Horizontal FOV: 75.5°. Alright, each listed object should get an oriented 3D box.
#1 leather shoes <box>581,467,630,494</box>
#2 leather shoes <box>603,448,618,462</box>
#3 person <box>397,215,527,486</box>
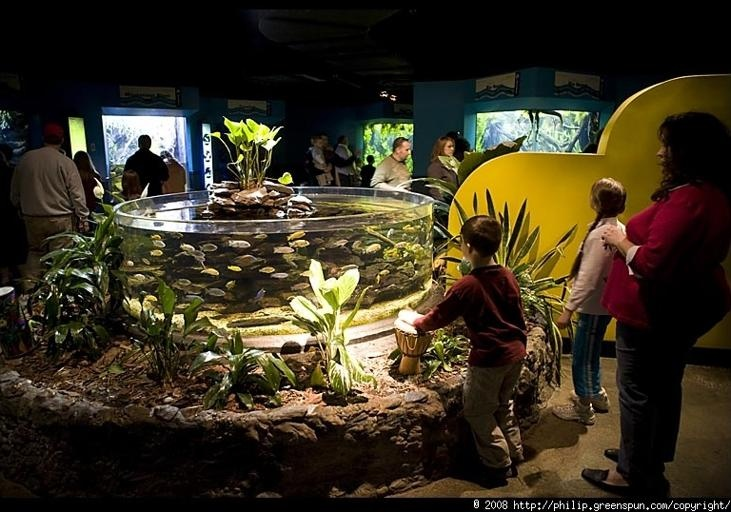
[{"bbox_3d":[1.619,1.503,3.182,0.099,0.065,0.267,-21,14,-38],"label":"leather shoes"},{"bbox_3d":[1.788,1.449,3.435,0.049,0.046,0.123,-2,8,9],"label":"leather shoes"},{"bbox_3d":[0.777,0.646,3.231,0.698,1.819,0.277,5,9,18],"label":"person"}]
